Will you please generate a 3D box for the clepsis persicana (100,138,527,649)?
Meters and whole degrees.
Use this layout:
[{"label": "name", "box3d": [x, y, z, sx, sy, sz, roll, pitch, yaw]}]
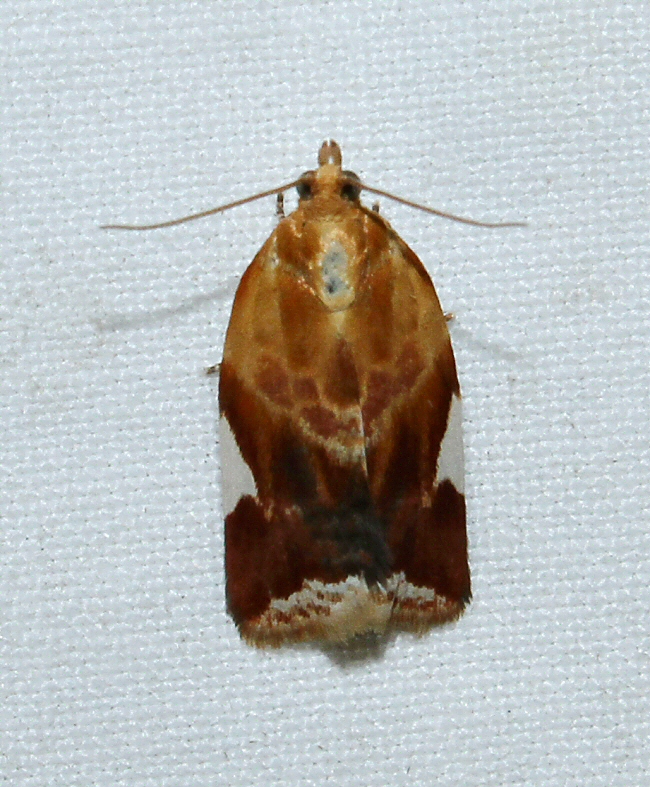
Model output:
[{"label": "clepsis persicana", "box3d": [-0.002, 0.047, 3.476, 0.620, 0.218, 0.876, -2, 93, 1]}]
